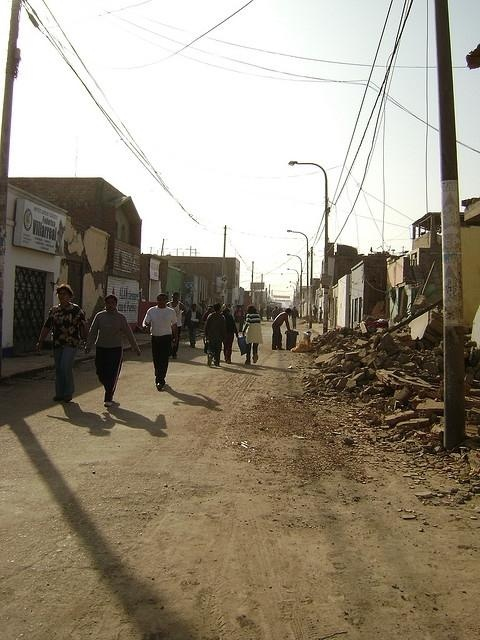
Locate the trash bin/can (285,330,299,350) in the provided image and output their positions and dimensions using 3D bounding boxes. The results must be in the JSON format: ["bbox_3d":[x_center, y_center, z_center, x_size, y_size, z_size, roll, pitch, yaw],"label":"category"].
[{"bbox_3d":[2.345,0.907,20.658,0.662,1.168,0.647,0,0,-9],"label":"trash bin/can"}]

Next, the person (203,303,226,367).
[{"bbox_3d":[-0.720,0.443,13.230,0.543,1.489,1.460,2,-1,-3],"label":"person"}]

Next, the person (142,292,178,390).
[{"bbox_3d":[-1.620,0.425,9.384,0.626,1.722,1.168,2,-1,-10],"label":"person"}]

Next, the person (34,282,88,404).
[{"bbox_3d":[-2.910,0.381,7.596,0.705,1.921,0.662,2,-1,-26],"label":"person"}]

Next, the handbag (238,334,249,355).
[{"bbox_3d":[0.086,0.816,14.960,0.354,0.498,0.656,2,-1,-4],"label":"handbag"}]

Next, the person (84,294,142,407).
[{"bbox_3d":[-2.159,0.471,7.789,0.822,1.733,1.132,2,-1,-18],"label":"person"}]

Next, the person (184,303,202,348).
[{"bbox_3d":[-2.000,0.225,19.812,0.609,1.563,2.668,2,-1,-5],"label":"person"}]
